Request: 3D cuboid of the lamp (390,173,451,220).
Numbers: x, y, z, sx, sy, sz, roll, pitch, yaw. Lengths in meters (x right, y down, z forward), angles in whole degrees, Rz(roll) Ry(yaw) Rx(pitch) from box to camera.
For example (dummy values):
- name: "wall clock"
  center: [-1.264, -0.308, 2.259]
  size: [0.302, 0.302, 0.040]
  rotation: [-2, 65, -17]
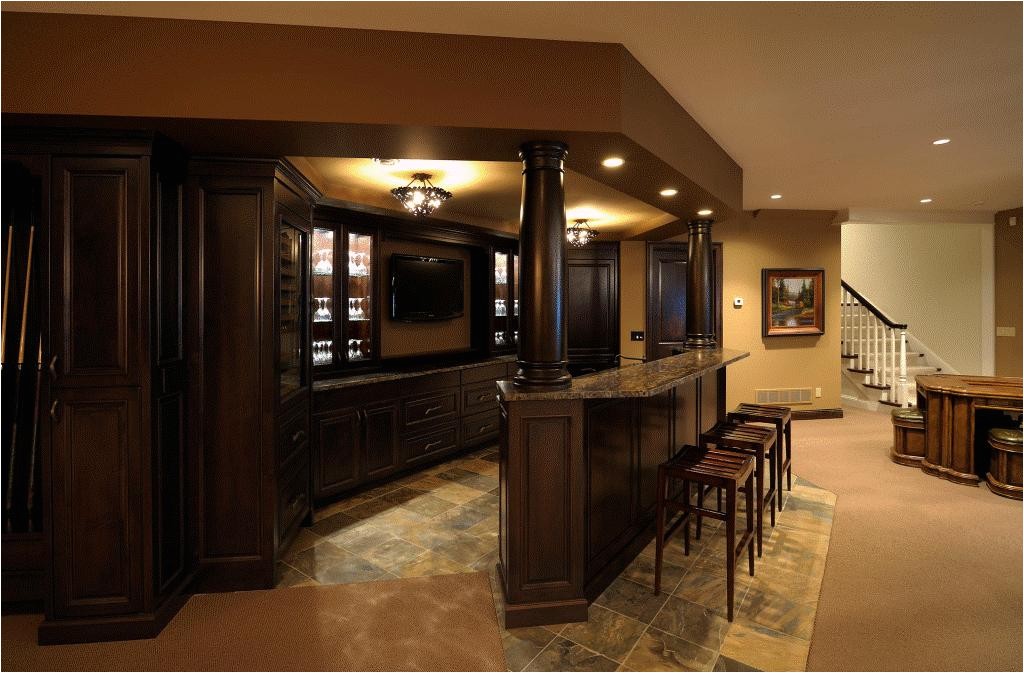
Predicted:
- name: "lamp"
  center: [-0.803, -1.244, 6.086]
  size: [0.411, 0.324, 0.407]
  rotation: [0, 1, -23]

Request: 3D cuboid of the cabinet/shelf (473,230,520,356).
- name: "cabinet/shelf"
  center: [-0.193, -0.499, 8.267]
  size: [0.570, 1.392, 0.264]
  rotation: [-5, 5, -39]

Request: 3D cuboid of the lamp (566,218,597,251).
- name: "lamp"
  center: [0.831, -1.236, 8.029]
  size: [0.327, 0.299, 0.317]
  rotation: [-2, 4, -7]

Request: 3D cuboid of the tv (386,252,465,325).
- name: "tv"
  center: [-0.985, -0.533, 7.439]
  size: [0.078, 0.573, 0.830]
  rotation: [0, 2, 39]

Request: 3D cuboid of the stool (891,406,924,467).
- name: "stool"
  center: [4.115, 1.032, 7.091]
  size: [0.450, 0.499, 0.478]
  rotation: [3, 7, 43]

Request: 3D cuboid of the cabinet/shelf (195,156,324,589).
- name: "cabinet/shelf"
  center: [-1.908, 0.260, 5.254]
  size: [0.531, 3.165, 1.019]
  rotation: [0, 4, 28]

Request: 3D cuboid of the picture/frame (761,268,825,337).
- name: "picture/frame"
  center: [3.594, -0.452, 8.805]
  size: [0.854, 0.957, 0.064]
  rotation: [0, 0, -6]

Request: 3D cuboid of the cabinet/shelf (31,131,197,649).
- name: "cabinet/shelf"
  center: [-2.797, 0.380, 4.723]
  size: [0.988, 3.393, 0.371]
  rotation: [-3, 4, -10]
